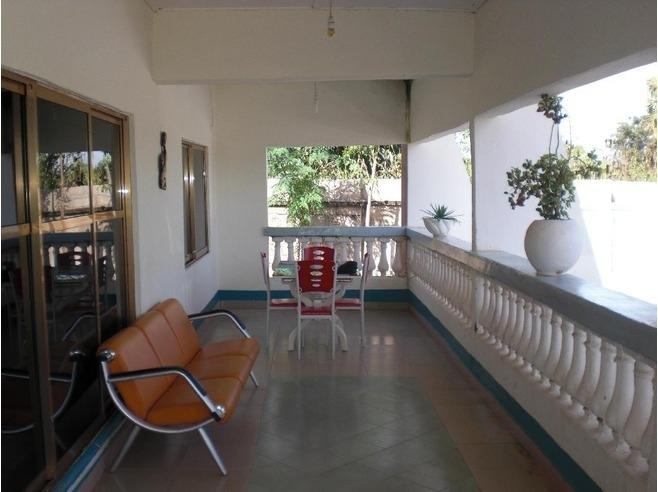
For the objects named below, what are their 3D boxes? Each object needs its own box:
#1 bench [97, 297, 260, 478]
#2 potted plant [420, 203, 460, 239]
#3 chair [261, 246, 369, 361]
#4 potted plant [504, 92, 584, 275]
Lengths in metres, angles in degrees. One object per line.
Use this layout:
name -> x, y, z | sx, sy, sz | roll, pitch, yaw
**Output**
bench -> -1.168, 1.138, 3.809 | 0.956, 1.006, 1.206 | 0, 8, 3
potted plant -> 1.574, -0.350, 6.449 | 0.417, 0.432, 0.485 | 3, 9, 24
chair -> -0.226, 1.002, 6.380 | 1.556, 1.711, 1.223 | 0, 5, 2
potted plant -> 2.063, -0.640, 4.390 | 0.593, 1.495, 2.043 | 3, 9, 23
